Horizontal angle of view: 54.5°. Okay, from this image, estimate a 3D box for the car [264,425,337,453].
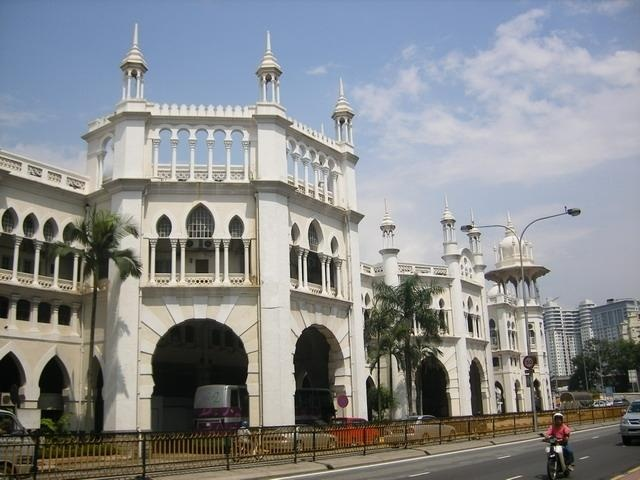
[{"bbox_3d":[-0.931,9.693,30.118,2.572,0.828,1.569,13,-24,-34],"label":"car"}]

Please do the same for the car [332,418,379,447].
[{"bbox_3d":[1.715,10.254,32.888,2.695,1.497,1.579,5,-10,-41],"label":"car"}]

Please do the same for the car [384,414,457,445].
[{"bbox_3d":[5.745,11.241,36.222,2.580,1.367,6.631,-12,-19,29],"label":"car"}]

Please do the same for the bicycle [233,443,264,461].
[{"bbox_3d":[-3.400,9.615,28.592,1.020,0.324,1.070,10,-10,-39],"label":"bicycle"}]

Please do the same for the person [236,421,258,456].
[{"bbox_3d":[-3.459,9.305,28.523,0.758,1.244,1.467,-7,-16,17],"label":"person"}]
